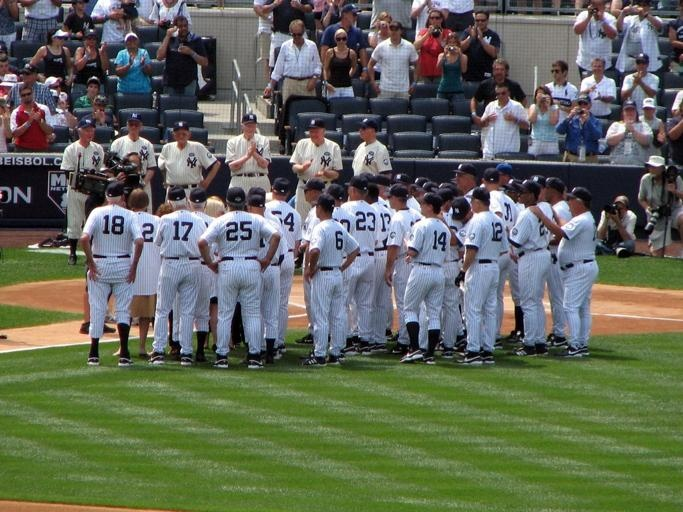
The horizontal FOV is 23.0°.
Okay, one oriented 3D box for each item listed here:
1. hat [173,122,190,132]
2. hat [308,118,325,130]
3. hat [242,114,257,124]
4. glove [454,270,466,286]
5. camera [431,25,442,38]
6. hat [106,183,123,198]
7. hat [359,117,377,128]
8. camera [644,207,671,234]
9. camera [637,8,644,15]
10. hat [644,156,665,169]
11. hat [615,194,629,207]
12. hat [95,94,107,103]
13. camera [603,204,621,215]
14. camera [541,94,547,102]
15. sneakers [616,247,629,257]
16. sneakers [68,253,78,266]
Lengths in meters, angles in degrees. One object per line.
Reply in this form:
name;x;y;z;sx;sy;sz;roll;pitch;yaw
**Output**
hat;-2.767;-2.287;28.630;0.222;0.179;0.352;0;0;-6
hat;-0.414;-2.302;28.676;0.247;0.163;0.271;-1;5;-8
hat;-1.615;-2.427;29.140;0.178;0.126;0.246;2;6;-13
glove;1.885;0.318;26.151;0.148;0.239;0.096;28;12;23
camera;2.029;-4.715;34.932;0.152;0.178;0.154;-5;8;15
hat;-3.484;-1.041;25.433;0.257;0.229;0.191;-1;5;-9
hat;0.496;-2.271;28.657;0.328;0.171;0.230;6;15;-8
camera;6.120;-0.760;32.113;0.477;0.518;0.215;34;-21;20
camera;6.481;-5.253;35.559;0.121;0.166;0.059;8;-11;-10
hat;6.103;-1.850;32.079;0.345;0.205;0.374;1;6;10
hat;5.452;-1.109;32.110;0.189;0.167;0.293;8;-9;39
hat;-4.827;-3.170;33.153;0.180;0.150;0.188;-8;7;0
camera;5.258;-0.922;31.945;0.389;0.216;0.183;-2;5;-17
camera;4.033;-3.169;32.984;0.113;0.141;0.052;7;-6;7
sneakers;5.564;-0.111;32.638;0.190;0.191;0.215;2;18;17
sneakers;-5.079;0.042;31.321;0.212;0.263;0.582;1;-2;-11
